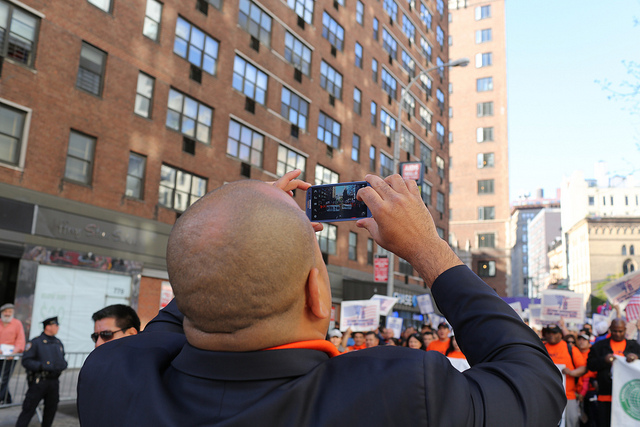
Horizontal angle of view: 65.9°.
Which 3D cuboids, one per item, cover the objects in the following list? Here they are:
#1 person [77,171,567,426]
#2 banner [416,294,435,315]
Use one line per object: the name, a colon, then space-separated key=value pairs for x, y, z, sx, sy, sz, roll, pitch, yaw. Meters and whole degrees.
person: x=-0.041 y=0.389 z=2.347 sx=2.173 sy=1.169 sz=0.555 roll=-4 pitch=-11 yaw=16
banner: x=4.610 y=3.934 z=21.634 sx=0.557 sy=0.824 sz=1.392 roll=-4 pitch=-11 yaw=15
